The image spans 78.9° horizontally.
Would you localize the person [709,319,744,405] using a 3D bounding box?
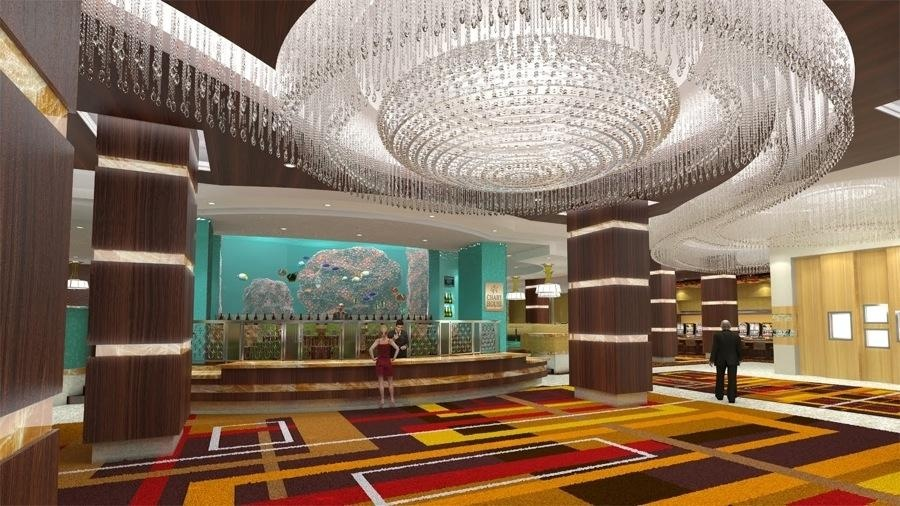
[{"bbox_3d":[7.089,2.721,14.023,0.728,1.982,1.382,-5,-9,25],"label":"person"}]
